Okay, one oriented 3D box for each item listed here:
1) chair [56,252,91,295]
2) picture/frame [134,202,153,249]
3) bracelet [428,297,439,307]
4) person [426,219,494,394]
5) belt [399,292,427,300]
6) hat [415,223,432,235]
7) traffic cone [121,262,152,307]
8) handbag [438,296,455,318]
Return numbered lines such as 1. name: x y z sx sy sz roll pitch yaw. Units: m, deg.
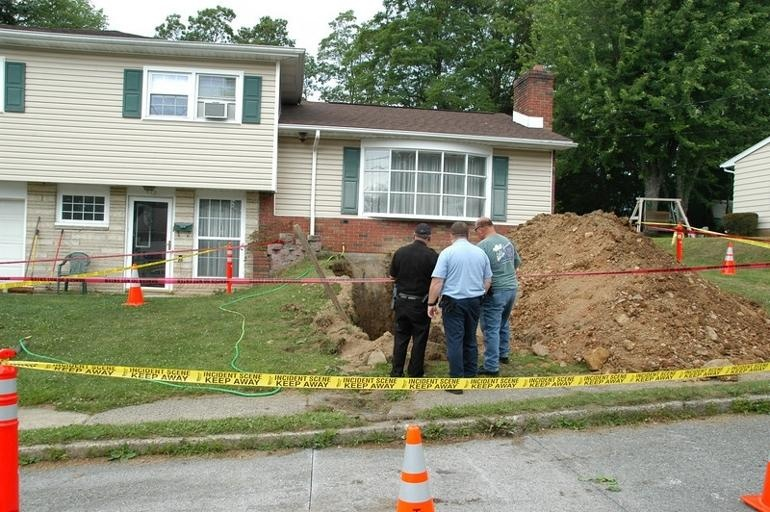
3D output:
1. chair: -9.051 0.475 21.259 0.943 1.049 0.754 3 3 -16
2. picture/frame: -7.300 -0.979 22.181 0.665 1.446 0.142 9 8 16
3. bracelet: 0.871 0.841 13.311 0.186 0.115 0.162 1 4 8
4. person: 1.368 0.800 13.376 1.204 3.040 0.427 -1 0 -20
5. belt: 0.494 0.734 13.394 0.509 0.112 0.080 -1 0 1
6. hat: 0.724 -0.501 13.791 0.245 0.152 0.304 5 12 6
7. traffic cone: -6.591 0.749 19.142 0.957 1.036 0.910 1 2 -29
8. handbag: 1.110 0.922 13.222 0.335 0.345 0.152 6 6 23
